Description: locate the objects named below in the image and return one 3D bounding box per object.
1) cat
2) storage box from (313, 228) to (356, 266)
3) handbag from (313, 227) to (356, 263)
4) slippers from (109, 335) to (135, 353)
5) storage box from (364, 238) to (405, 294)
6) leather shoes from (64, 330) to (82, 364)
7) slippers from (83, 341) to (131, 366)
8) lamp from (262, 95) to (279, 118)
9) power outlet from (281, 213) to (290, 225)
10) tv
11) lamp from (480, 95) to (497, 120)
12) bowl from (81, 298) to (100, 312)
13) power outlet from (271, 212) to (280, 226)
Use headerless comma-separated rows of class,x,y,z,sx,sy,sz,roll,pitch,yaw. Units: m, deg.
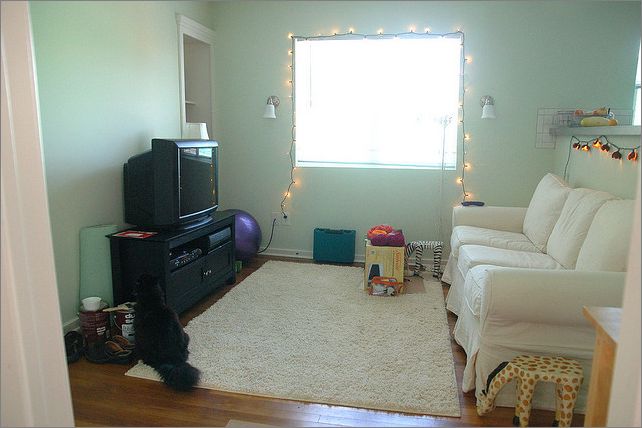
cat,-1.110,0.836,3.290,0.362,0.832,0.412,-6,-30,-33
storage box,0.161,0.390,5.329,0.371,0.318,0.136,3,11,10
handbag,0.163,0.366,5.336,0.374,0.320,0.134,3,11,10
slippers,-1.480,0.968,3.482,0.180,0.042,0.110,23,20,29
storage box,0.608,0.463,4.571,0.565,0.546,0.394,0,2,5
leather shoes,-1.821,0.971,3.491,0.116,0.151,0.307,-8,15,-29
slippers,-1.536,1.008,3.431,0.308,0.117,0.161,8,5,2
lamp,-0.565,-1.215,5.363,0.174,0.254,0.136,3,14,13
power outlet,-0.417,0.069,5.551,0.145,0.131,0.034,5,3,13
tv,-1.231,-0.286,4.310,0.760,0.808,0.942,4,9,16
lamp,1.761,-1.120,4.931,0.161,0.241,0.165,3,14,14
bowl,-1.760,0.686,3.613,0.103,0.065,0.101,2,10,0
power outlet,-0.527,0.056,5.575,0.149,0.195,0.052,2,9,11
